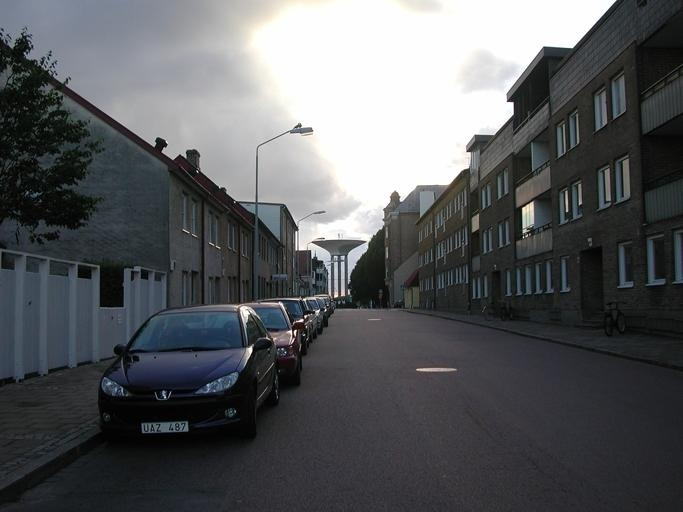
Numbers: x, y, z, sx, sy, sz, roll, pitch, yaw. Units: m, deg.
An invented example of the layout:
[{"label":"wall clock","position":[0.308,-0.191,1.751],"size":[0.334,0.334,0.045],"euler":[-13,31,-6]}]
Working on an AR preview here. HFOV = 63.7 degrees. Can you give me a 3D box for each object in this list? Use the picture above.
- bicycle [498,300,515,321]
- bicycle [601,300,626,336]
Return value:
[{"label":"bicycle","position":[10.757,3.665,35.744],"size":[0.783,1.452,1.057],"euler":[0,1,-33]},{"label":"bicycle","position":[10.785,2.455,21.601],"size":[0.717,1.256,3.759],"euler":[5,1,27]}]
